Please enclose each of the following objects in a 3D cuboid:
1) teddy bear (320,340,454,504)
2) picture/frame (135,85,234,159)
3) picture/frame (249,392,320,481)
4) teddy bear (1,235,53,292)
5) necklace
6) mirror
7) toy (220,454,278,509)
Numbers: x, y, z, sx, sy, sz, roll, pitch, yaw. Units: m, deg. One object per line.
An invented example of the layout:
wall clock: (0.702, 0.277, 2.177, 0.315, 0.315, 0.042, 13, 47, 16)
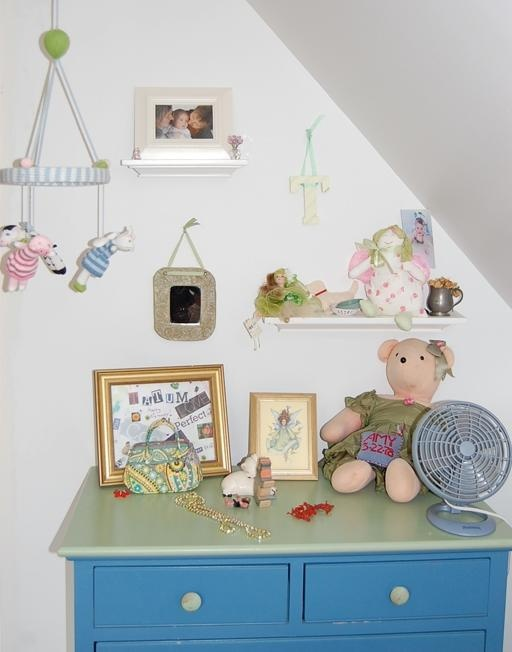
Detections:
teddy bear: (0.386, 0.249, 1.882, 0.453, 0.410, 0.335, -2, 7, -34)
picture/frame: (-0.204, -0.560, 1.805, 0.237, 0.152, 0.010, 0, -3, -3)
picture/frame: (0.078, 0.327, 1.883, 0.277, 0.295, 0.026, -1, -7, -1)
teddy bear: (-0.606, -0.163, 1.736, 0.174, 0.159, 0.068, 12, 18, 35)
necklace: (-0.091, 0.452, 1.628, 0.083, 0.020, 0.268, -6, 10, -41)
mirror: (-0.207, -0.066, 1.883, 0.240, 0.245, 0.036, 0, 5, -2)
toy: (-0.008, 0.406, 1.775, 0.158, 0.132, 0.123, 7, -8, 19)
